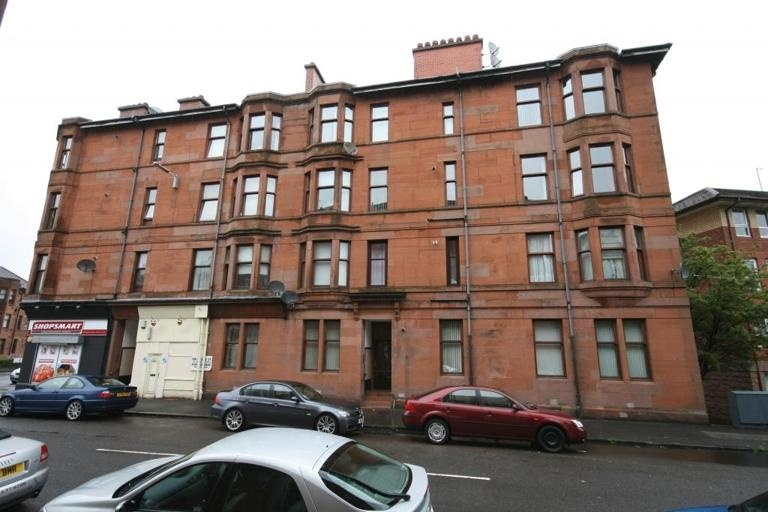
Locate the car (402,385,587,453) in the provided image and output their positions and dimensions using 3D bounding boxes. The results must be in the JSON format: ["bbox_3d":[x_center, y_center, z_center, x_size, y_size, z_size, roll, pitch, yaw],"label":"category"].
[{"bbox_3d":[4.299,6.372,20.432,7.167,1.661,2.593,-2,-10,11],"label":"car"}]

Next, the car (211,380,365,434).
[{"bbox_3d":[-4.133,6.177,21.408,6.601,1.476,2.315,-1,-11,8],"label":"car"}]
